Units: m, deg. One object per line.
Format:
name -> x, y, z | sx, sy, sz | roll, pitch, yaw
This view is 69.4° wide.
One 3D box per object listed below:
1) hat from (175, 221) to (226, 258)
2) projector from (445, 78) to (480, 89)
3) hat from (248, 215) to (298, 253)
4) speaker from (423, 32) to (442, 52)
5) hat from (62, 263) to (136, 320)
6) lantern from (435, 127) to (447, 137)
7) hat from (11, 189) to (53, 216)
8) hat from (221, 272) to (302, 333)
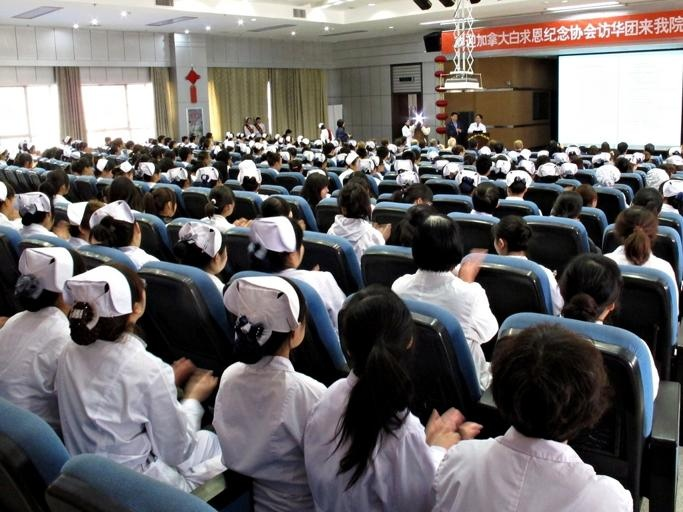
hat -> -0.730, -0.073, 2.715 | 0.192, 0.202, 0.055 | 25, -7, 7
projector -> 2.363, -3.587, 10.270 | 0.535, 0.163, 0.610 | 6, 10, 33
hat -> -0.330, -0.119, 2.642 | 0.198, 0.118, 0.172 | 8, 59, 7
speaker -> 2.968, -7.219, 16.550 | 0.542, 0.608, 0.482 | 3, 13, 21
hat -> -0.806, 0.147, 1.770 | 0.191, 0.138, 0.163 | 18, 27, 27
lantern -> 3.057, -3.959, 15.585 | 0.293, 0.121, 0.304 | -1, 4, -29
hat -> -2.258, -0.421, 3.962 | 0.178, 0.214, 0.088 | 12, 12, -7
hat -> -0.238, 0.162, 1.643 | 0.234, 0.179, 0.132 | -4, 12, -8
